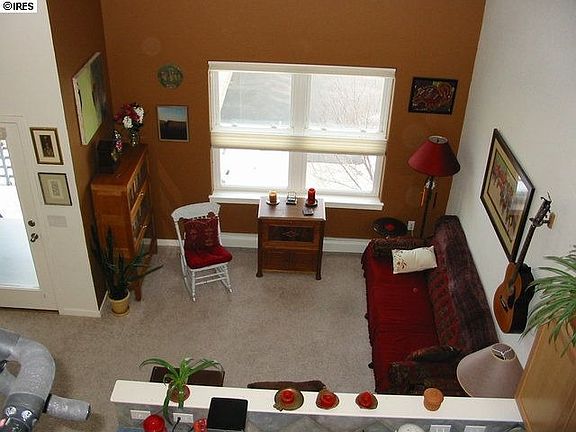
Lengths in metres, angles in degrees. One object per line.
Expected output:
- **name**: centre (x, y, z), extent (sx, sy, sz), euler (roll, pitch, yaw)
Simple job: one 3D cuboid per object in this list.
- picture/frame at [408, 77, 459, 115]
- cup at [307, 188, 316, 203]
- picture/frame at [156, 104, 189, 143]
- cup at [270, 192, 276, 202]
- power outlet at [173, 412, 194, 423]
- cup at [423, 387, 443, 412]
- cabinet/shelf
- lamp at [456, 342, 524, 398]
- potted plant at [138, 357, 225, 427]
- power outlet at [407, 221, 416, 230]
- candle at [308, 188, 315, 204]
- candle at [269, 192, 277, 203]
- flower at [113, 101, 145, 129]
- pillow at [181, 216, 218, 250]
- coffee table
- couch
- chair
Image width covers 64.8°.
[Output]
- **picture/frame**: centre (1.847, -1.562, 5.751), extent (0.419, 0.370, 0.048), euler (2, 31, -1)
- **cup**: centre (0.323, -0.293, 6.188), extent (0.115, 0.191, 0.120), euler (3, 26, -2)
- **picture/frame**: centre (-1.513, -1.261, 5.969), extent (0.446, 0.537, 0.036), euler (0, 31, -5)
- **cup**: centre (-0.211, -0.291, 6.141), extent (0.102, 0.120, 0.108), euler (1, 36, 0)
- **power outlet**: centre (-0.745, 1.433, 3.253), extent (0.095, 0.070, 0.014), euler (7, 36, 4)
- **cup**: centre (1.035, 1.306, 3.249), extent (0.128, 0.101, 0.136), euler (0, 33, 0)
- **cabinet/shelf**: centre (-2.028, 0.065, 5.512), extent (0.443, 1.578, 1.340), euler (-3, 36, -6)
- **lamp**: centre (1.557, 1.189, 3.533), extent (0.429, 0.324, 0.350), euler (18, 32, 34)
- **potted plant**: centre (-0.752, 1.165, 3.290), extent (0.477, 0.231, 0.492), euler (21, 18, 27)
- **power outlet**: centre (1.764, 0.112, 6.502), extent (0.133, 0.192, 0.020), euler (-1, 31, -4)
- **candle**: centre (0.320, -0.281, 6.171), extent (0.119, 0.200, 0.120), euler (-18, 35, -33)
- **candle**: centre (-0.195, -0.272, 6.159), extent (0.099, 0.138, 0.141), euler (0, 31, 0)
- **flower**: centre (-1.947, -1.257, 5.638), extent (0.339, 0.347, 0.343), euler (19, 28, 39)
- **pillow**: centre (-1.118, 0.209, 5.844), extent (0.356, 0.365, 0.132), euler (-7, 23, -21)
- **coffee table**: centre (0.034, 0.601, 6.259), extent (0.917, 0.703, 0.956), euler (1, 53, 2)
- **couch**: centre (1.501, 1.061, 5.295), extent (1.274, 1.048, 2.480), euler (3, 27, 3)
- **chair**: centre (-1.093, 0.465, 5.891), extent (0.708, 1.031, 0.786), euler (0, 28, -7)
